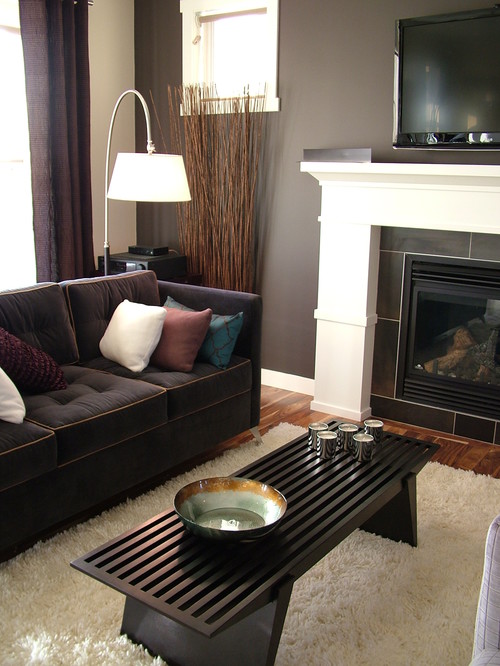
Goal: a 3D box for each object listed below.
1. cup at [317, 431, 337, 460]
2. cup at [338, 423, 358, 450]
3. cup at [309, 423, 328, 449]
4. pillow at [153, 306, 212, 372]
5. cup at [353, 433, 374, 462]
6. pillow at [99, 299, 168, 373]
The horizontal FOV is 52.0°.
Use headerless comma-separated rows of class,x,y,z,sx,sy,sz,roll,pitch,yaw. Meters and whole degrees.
cup,0.251,0.371,1.691,0.064,0.085,0.070,0,10,0
cup,0.324,0.349,1.774,0.069,0.089,0.076,0,13,-1
cup,0.224,0.351,1.777,0.066,0.087,0.073,0,13,0
pillow,-0.334,0.037,2.482,0.227,0.222,0.122,9,23,39
cup,0.367,0.371,1.694,0.066,0.086,0.072,0,12,0
pillow,-0.602,0.024,2.537,0.342,0.324,0.178,12,6,37
